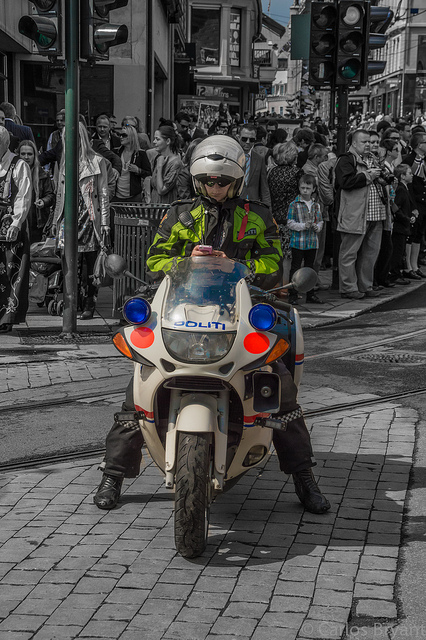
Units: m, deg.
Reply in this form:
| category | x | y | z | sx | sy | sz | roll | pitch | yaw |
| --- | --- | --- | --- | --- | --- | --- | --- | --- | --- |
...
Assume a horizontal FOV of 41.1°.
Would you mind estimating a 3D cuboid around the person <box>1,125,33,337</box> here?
| category | x | y | z | sx | sy | sz | roll | pitch | yaw |
| --- | --- | --- | --- | --- | --- | --- | --- | --- | --- |
| person | -2.639 | -1.150 | 7.615 | 0.381 | 2.713 | 0.570 | 1 | -1 | -18 |

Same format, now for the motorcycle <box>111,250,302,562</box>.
| category | x | y | z | sx | sy | sz | roll | pitch | yaw |
| --- | --- | --- | --- | --- | --- | --- | --- | --- | --- |
| motorcycle | -0.028 | 0.311 | 2.372 | 0.679 | 1.335 | 0.864 | 1 | -1 | 11 |

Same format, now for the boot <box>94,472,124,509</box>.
| category | x | y | z | sx | sy | sz | roll | pitch | yaw |
| --- | --- | --- | --- | --- | --- | --- | --- | --- | --- |
| boot | -0.521 | 0.882 | 2.903 | 0.080 | 0.102 | 0.239 | 17 | -4 | 0 |

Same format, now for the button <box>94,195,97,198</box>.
| category | x | y | z | sx | sy | sz | roll | pitch | yaw |
| --- | --- | --- | --- | --- | --- | --- | --- | --- | --- |
| button | -1.732 | -1.857 | 8.452 | 0.008 | 0.046 | 0.059 | 0 | -2 | 29 |

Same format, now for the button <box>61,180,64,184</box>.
| category | x | y | z | sx | sy | sz | roll | pitch | yaw |
| --- | --- | --- | --- | --- | --- | --- | --- | --- | --- |
| button | -2.208 | -2.057 | 8.420 | 0.032 | 0.032 | 0.008 | -16 | -3 | 4 |

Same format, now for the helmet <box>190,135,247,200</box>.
| category | x | y | z | sx | sy | sz | roll | pitch | yaw |
| --- | --- | --- | --- | --- | --- | --- | --- | --- | --- |
| helmet | 0.035 | -0.742 | 2.750 | 0.269 | 0.292 | 0.342 | 0 | 23 | -6 |

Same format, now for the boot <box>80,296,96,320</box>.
| category | x | y | z | sx | sy | sz | roll | pitch | yaw |
| --- | --- | --- | --- | --- | --- | --- | --- | --- | --- |
| boot | -1.914 | -0.192 | 8.666 | 0.187 | 0.363 | 0.237 | 1 | -1 | 1 |

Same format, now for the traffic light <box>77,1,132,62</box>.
| category | x | y | z | sx | sy | sz | roll | pitch | yaw |
| --- | --- | --- | --- | --- | --- | --- | --- | --- | --- |
| traffic light | -1.448 | -3.795 | 7.444 | 0.616 | 0.945 | 0.533 | 1 | -1 | -17 |

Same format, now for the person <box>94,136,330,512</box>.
| category | x | y | z | sx | sy | sz | roll | pitch | yaw |
| --- | --- | --- | --- | --- | --- | --- | --- | --- | --- |
| person | -0.020 | -0.035 | 2.899 | 1.123 | 1.737 | 0.843 | -1 | 12 | -4 |

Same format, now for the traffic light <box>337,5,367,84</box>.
| category | x | y | z | sx | sy | sz | roll | pitch | yaw |
| --- | --- | --- | --- | --- | --- | --- | --- | --- | --- |
| traffic light | 2.630 | -5.311 | 10.877 | 0.525 | 1.427 | 0.386 | 1 | -1 | 10 |

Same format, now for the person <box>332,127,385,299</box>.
| category | x | y | z | sx | sy | sz | roll | pitch | yaw |
| --- | --- | --- | --- | --- | --- | --- | --- | --- | --- |
| person | 2.737 | -1.946 | 10.672 | 0.891 | 3.075 | 1.019 | 1 | -1 | 16 |

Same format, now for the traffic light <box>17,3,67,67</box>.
| category | x | y | z | sx | sy | sz | roll | pitch | yaw |
| --- | --- | --- | --- | --- | --- | --- | --- | --- | --- |
| traffic light | -2.075 | -3.667 | 7.015 | 0.585 | 0.632 | 0.409 | 2 | -2 | -29 |
